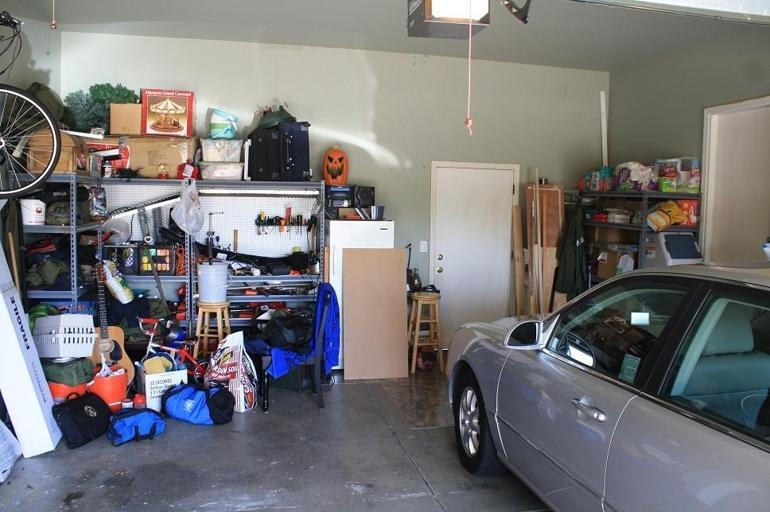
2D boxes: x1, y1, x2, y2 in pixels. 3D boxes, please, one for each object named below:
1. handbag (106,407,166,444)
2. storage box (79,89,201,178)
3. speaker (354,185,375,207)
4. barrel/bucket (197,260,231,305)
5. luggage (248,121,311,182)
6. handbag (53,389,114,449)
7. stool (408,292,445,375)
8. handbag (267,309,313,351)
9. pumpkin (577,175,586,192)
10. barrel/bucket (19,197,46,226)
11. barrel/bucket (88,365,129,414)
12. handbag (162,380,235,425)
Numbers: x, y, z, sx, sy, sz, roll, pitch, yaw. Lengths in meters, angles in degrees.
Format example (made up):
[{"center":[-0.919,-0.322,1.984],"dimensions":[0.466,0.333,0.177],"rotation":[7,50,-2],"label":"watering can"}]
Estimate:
[{"center":[-2.201,1.504,4.842],"dimensions":[0.335,0.125,0.267],"rotation":[-5,39,-38],"label":"handbag"},{"center":[-2.814,-1.326,6.474],"dimensions":[1.329,1.146,0.986],"rotation":[0,1,-5],"label":"storage box"},{"center":[-0.256,-0.709,6.533],"dimensions":[0.247,0.250,0.097],"rotation":[-3,12,-19],"label":"speaker"},{"center":[-1.908,0.287,6.064],"dimensions":[0.393,0.408,0.414],"rotation":[0,8,0],"label":"barrel/bucket"},{"center":[-1.102,-1.159,6.595],"dimensions":[0.799,0.731,0.832],"rotation":[-2,-2,-2],"label":"luggage"},{"center":[-2.610,1.412,4.834],"dimensions":[0.349,0.430,0.477],"rotation":[-23,2,7],"label":"handbag"},{"center":[0.508,0.881,6.721],"dimensions":[0.448,0.908,0.787],"rotation":[1,12,2],"label":"stool"},{"center":[-0.998,0.789,5.636],"dimensions":[0.500,0.303,0.330],"rotation":[-2,12,-14],"label":"handbag"},{"center":[2.676,-0.992,7.437],"dimensions":[0.098,0.190,0.438],"rotation":[5,12,16],"label":"pumpkin"},{"center":[-3.528,-0.448,5.456],"dimensions":[0.233,0.207,0.237],"rotation":[0,0,0],"label":"barrel/bucket"},{"center":[-2.499,1.207,5.066],"dimensions":[0.373,0.384,0.367],"rotation":[3,5,0],"label":"barrel/bucket"},{"center":[-1.773,1.380,5.192],"dimensions":[0.573,0.291,0.342],"rotation":[3,-3,14],"label":"handbag"}]
